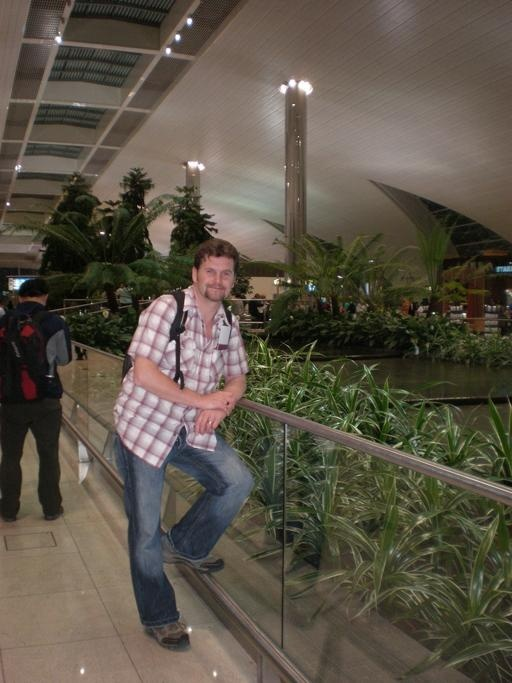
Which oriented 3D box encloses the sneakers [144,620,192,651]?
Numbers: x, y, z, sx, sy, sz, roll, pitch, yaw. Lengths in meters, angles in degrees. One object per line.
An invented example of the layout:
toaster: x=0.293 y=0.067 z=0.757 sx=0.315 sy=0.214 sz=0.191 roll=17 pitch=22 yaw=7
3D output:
sneakers: x=-0.335 y=1.110 z=1.753 sx=0.090 sy=0.081 sz=0.180 roll=6 pitch=-12 yaw=-35

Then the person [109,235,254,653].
person: x=-0.256 y=0.396 z=1.733 sx=0.544 sy=1.518 sz=0.507 roll=-8 pitch=1 yaw=-19

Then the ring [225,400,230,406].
ring: x=-0.100 y=0.224 z=1.614 sx=0.013 sy=0.013 sz=0.004 roll=-9 pitch=-29 yaw=-41
